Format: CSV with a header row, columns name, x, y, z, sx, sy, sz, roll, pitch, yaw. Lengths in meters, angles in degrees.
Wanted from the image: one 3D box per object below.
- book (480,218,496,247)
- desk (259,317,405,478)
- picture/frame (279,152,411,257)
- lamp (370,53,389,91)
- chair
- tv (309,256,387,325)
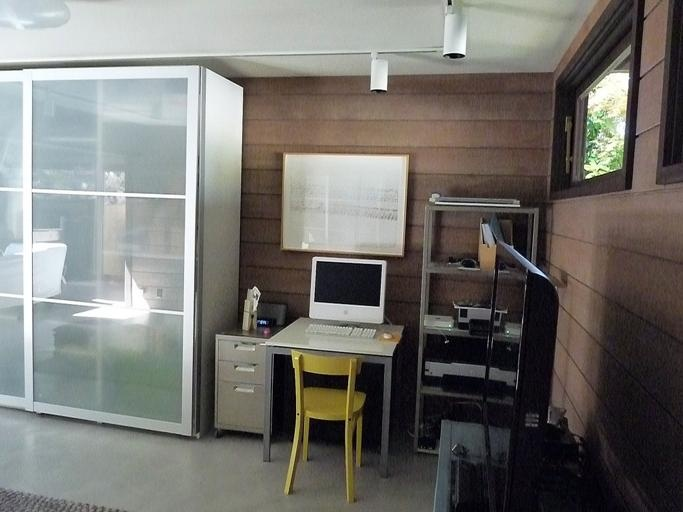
name,x,y,z,sx,sy,sz,roll,pitch,yaw
book,0.824,-0.123,2.943,0.044,0.203,0.201,-10,41,16
desk,-0.009,0.837,3.668,0.832,0.828,0.884,1,4,13
picture/frame,0.071,-0.399,3.911,0.680,0.606,0.027,2,3,12
lamp,0.254,-1.188,3.450,0.113,0.235,0.307,2,8,3
chair,-0.097,0.976,3.333,0.483,0.852,0.671,2,8,3
tv,0.053,0.252,3.765,0.416,0.410,0.143,3,-5,10
